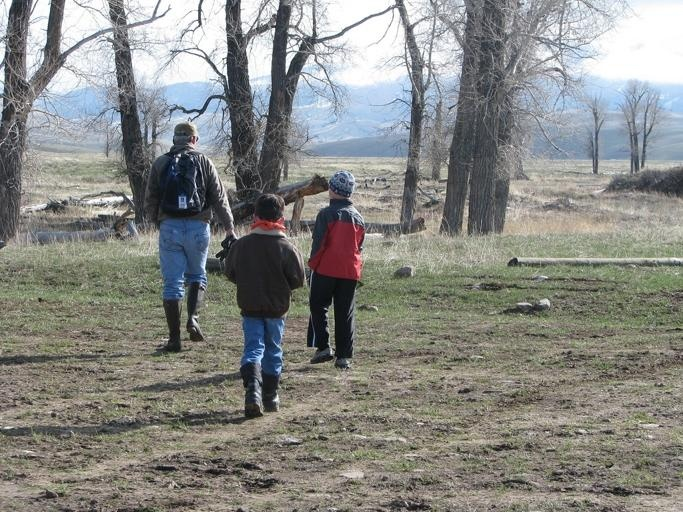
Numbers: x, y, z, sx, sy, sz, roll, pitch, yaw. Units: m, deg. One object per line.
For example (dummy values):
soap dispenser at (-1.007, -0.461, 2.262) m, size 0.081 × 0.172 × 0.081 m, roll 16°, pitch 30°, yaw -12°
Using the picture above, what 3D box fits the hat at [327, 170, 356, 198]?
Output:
hat at (-0.012, -1.418, 25.245) m, size 0.491 × 0.406 × 0.522 m, roll -1°, pitch 38°, yaw -41°

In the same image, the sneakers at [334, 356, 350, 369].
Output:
sneakers at (0.026, 2.164, 25.399) m, size 0.261 × 0.246 × 0.189 m, roll 4°, pitch -2°, yaw 18°

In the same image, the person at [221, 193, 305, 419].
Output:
person at (-1.465, 0.950, 23.674) m, size 1.354 × 4.126 × 0.568 m, roll -1°, pitch 4°, yaw -5°

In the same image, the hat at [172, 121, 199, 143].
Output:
hat at (-3.072, -2.405, 25.575) m, size 0.551 × 0.396 × 0.883 m, roll 8°, pitch 0°, yaw -7°

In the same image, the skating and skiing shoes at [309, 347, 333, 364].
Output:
skating and skiing shoes at (-0.379, 2.005, 25.280) m, size 0.606 × 0.217 × 0.292 m, roll -19°, pitch 32°, yaw 11°
